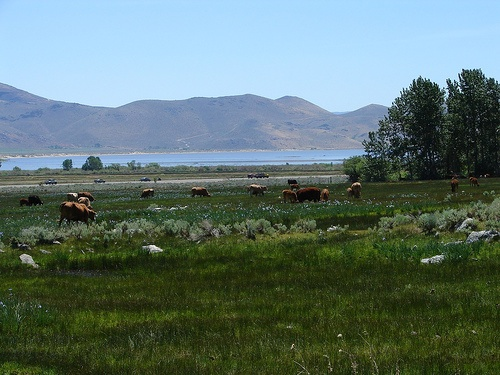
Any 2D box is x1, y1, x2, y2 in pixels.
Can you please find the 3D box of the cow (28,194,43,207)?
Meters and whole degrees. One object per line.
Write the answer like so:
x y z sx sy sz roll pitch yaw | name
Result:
-23.267 1.394 77.479 1.333 0.922 3.796 -7 10 -18 | cow

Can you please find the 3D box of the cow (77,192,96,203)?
-16.073 1.017 70.364 2.243 1.191 0.611 3 31 -35 | cow

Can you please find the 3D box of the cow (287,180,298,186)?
6.065 -0.768 101.644 1.358 1.404 1.130 0 7 7 | cow

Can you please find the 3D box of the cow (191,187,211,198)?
-5.862 0.670 84.282 1.674 1.170 3.367 -9 11 -28 | cow

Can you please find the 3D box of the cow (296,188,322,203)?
5.605 0.769 68.570 2.256 1.255 1.491 -4 10 2 | cow

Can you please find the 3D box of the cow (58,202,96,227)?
-12.145 2.015 50.839 0.910 1.650 3.123 -6 -11 35 | cow

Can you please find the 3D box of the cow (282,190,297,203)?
3.828 0.906 67.973 1.386 1.222 1.213 -2 10 12 | cow
